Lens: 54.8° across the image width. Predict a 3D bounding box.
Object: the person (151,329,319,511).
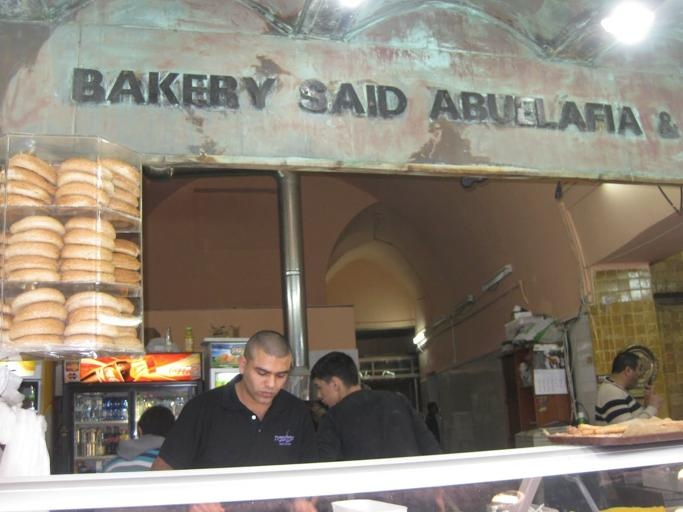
[{"bbox_3d":[-0.590,0.813,3.796,0.904,0.750,0.341,0,-9,-7],"label":"person"}]
